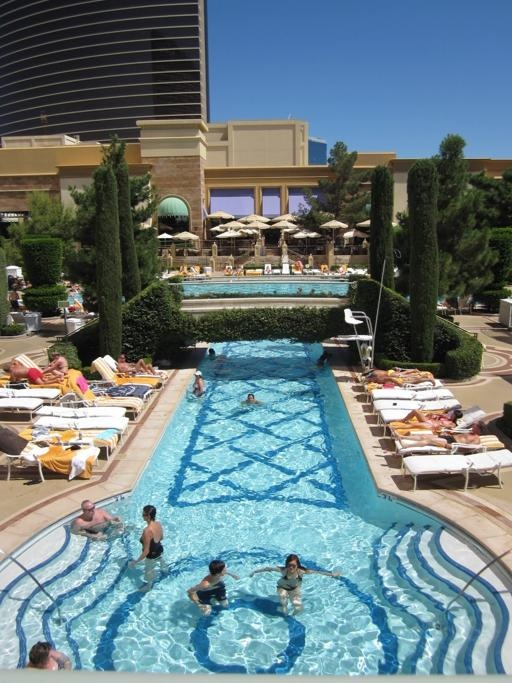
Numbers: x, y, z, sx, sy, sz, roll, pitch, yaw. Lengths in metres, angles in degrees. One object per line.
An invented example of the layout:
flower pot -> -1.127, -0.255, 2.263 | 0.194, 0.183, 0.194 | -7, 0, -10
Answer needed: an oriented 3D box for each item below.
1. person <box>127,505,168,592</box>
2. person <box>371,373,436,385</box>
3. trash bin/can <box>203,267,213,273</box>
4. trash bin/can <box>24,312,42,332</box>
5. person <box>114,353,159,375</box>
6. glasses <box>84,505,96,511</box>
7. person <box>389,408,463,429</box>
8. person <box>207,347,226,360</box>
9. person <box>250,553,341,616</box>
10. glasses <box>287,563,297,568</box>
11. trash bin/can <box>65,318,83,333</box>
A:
person -> -1.768, 3.356, 8.234 | 0.558, 1.678, 0.725 | 7, 18, 15
person -> 4.492, 1.193, 16.101 | 1.415, 0.395, 0.705 | -2, 3, 22
trash bin/can -> -4.004, -5.867, 41.898 | 0.599, 0.588, 1.068 | -3, 0, -8
trash bin/can -> -11.623, -0.984, 26.488 | 0.496, 0.745, 0.821 | -1, 19, -7
person -> -4.168, 0.848, 17.824 | 1.415, 0.752, 0.661 | -5, 13, -10
glasses -> -2.895, 2.852, 8.784 | 0.107, 0.034, 0.103 | -4, 6, 28
person -> 4.161, 1.855, 12.261 | 1.076, 0.368, 0.673 | -4, 9, 8
person -> -1.733, 0.516, 22.224 | 0.778, 0.476, 1.560 | -3, 11, -4
person -> 0.504, 3.460, 7.211 | 1.151, 1.040, 0.402 | 3, 22, 14
glasses -> 0.472, 3.014, 6.919 | 0.118, 0.101, 0.039 | -2, 12, 2
trash bin/can -> -8.669, -0.748, 24.174 | 0.587, 0.890, 0.575 | -10, 24, -20
